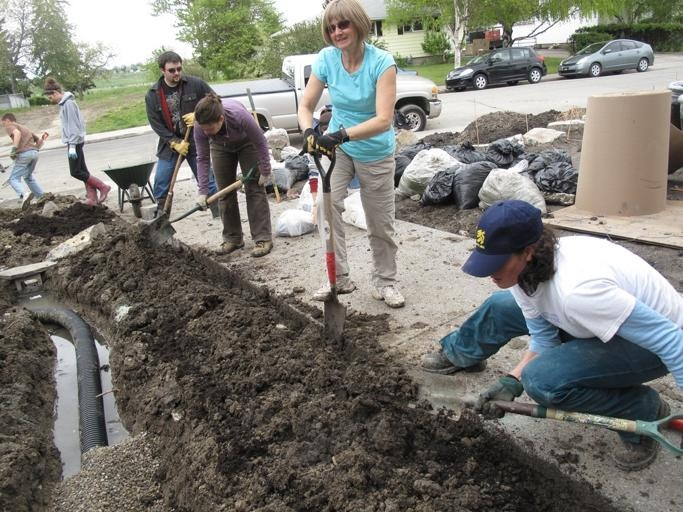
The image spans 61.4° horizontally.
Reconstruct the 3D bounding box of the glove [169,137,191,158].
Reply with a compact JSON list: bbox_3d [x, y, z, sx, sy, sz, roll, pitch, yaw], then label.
[{"bbox_3d":[-1.918,-1.312,6.918,0.161,0.278,0.359,1,8,-41],"label":"glove"}]

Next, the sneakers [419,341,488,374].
[{"bbox_3d":[0.817,0.720,4.180,0.455,0.209,0.192,4,25,10],"label":"sneakers"}]

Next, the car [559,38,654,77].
[{"bbox_3d":[9.862,-7.285,21.231,2.964,1.073,1.500,-5,13,-12],"label":"car"}]

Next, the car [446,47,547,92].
[{"bbox_3d":[5.758,-6.984,21.537,3.016,1.198,1.731,-3,14,-11],"label":"car"}]

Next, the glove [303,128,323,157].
[{"bbox_3d":[-0.221,-0.897,4.345,0.090,0.127,0.223,-4,45,0],"label":"glove"}]

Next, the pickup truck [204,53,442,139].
[{"bbox_3d":[-0.378,-3.602,13.021,5.337,1.961,1.928,-5,28,3],"label":"pickup truck"}]

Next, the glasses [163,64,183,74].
[{"bbox_3d":[-2.093,-2.319,7.097,0.143,0.085,0.189,-9,2,-11],"label":"glasses"}]

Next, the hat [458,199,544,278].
[{"bbox_3d":[0.919,-0.101,3.267,0.485,0.414,0.238,-5,20,5],"label":"hat"}]

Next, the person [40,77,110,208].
[{"bbox_3d":[-4.316,-1.870,9.393,0.557,2.080,1.387,-16,21,-22],"label":"person"}]

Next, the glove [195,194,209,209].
[{"bbox_3d":[-1.470,-0.583,6.121,0.116,0.137,0.148,5,5,1],"label":"glove"}]

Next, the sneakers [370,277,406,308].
[{"bbox_3d":[0.408,0.314,5.112,0.149,0.156,0.369,-23,24,-24],"label":"sneakers"}]

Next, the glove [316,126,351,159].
[{"bbox_3d":[-0.059,-0.857,4.301,0.164,0.105,0.267,25,57,19],"label":"glove"}]

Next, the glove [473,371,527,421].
[{"bbox_3d":[0.972,0.850,3.575,0.332,0.163,0.203,-38,24,-17],"label":"glove"}]

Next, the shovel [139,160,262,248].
[{"bbox_3d":[-1.510,-0.655,6.354,1.566,0.322,0.436,-33,20,-30],"label":"shovel"}]

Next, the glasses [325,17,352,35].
[{"bbox_3d":[-0.030,-1.719,4.304,0.222,0.090,0.065,10,26,41],"label":"glasses"}]

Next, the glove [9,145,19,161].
[{"bbox_3d":[-5.553,-1.768,9.752,0.139,0.222,0.368,-18,22,-27],"label":"glove"}]

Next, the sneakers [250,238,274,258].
[{"bbox_3d":[-0.892,-0.092,6.475,0.116,0.125,0.318,-3,4,16],"label":"sneakers"}]

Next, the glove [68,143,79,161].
[{"bbox_3d":[-4.247,-1.663,9.093,0.139,0.246,0.237,-14,20,-19],"label":"glove"}]

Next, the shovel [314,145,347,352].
[{"bbox_3d":[-0.098,-0.073,4.463,0.253,1.439,0.495,-7,20,2],"label":"shovel"}]

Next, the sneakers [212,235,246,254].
[{"bbox_3d":[-1.297,-0.140,6.659,0.378,0.168,0.131,-12,21,-28],"label":"sneakers"}]

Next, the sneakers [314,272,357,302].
[{"bbox_3d":[0.009,0.271,5.223,0.490,0.222,0.164,-13,19,-32],"label":"sneakers"}]

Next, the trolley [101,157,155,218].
[{"bbox_3d":[-3.097,-1.138,8.442,0.963,0.903,0.930,-12,14,-24],"label":"trolley"}]
